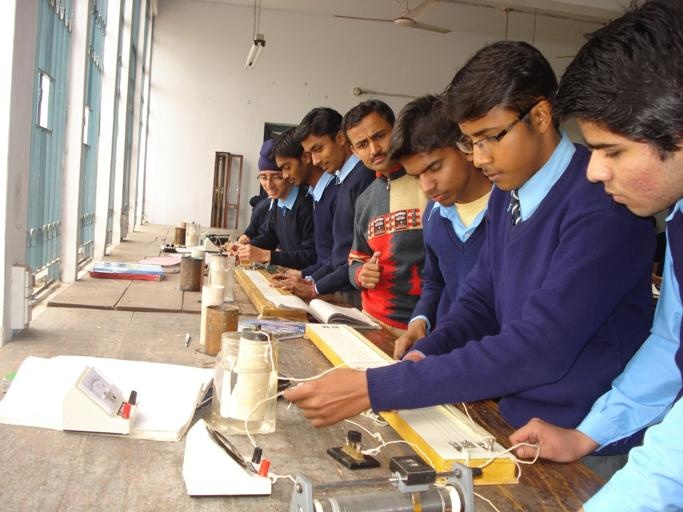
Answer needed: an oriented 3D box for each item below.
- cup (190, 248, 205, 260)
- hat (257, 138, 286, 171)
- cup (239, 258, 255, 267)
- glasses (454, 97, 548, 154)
[{"bbox_3d":[-0.971,-0.018,3.134,0.080,0.077,0.080,2,9,0],"label":"cup"},{"bbox_3d":[-0.628,-0.875,3.971,0.249,0.294,0.335,1,-1,6],"label":"hat"},{"bbox_3d":[-0.717,0.054,3.494,0.077,0.078,0.078,2,12,-1],"label":"cup"},{"bbox_3d":[0.436,-0.323,1.229,0.133,0.041,0.126,-38,10,-3],"label":"glasses"}]
